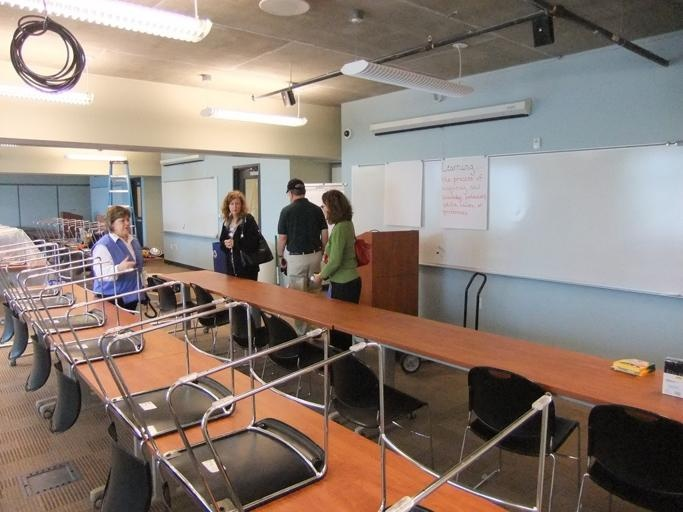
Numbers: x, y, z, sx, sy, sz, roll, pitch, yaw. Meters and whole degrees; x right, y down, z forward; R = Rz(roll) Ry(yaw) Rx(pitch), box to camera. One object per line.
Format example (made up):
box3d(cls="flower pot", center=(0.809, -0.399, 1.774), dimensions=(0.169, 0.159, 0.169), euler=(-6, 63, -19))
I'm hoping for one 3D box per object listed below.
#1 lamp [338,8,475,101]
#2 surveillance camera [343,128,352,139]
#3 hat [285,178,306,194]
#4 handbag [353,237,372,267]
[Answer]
box3d(cls="lamp", center=(0.676, -1.611, 4.316), dimensions=(1.640, 0.195, 0.453), euler=(3, 3, -36))
box3d(cls="surveillance camera", center=(0.095, -1.713, 6.938), dimensions=(0.033, 0.126, 0.123), euler=(-2, 6, -43))
box3d(cls="hat", center=(-0.494, -0.762, 5.359), dimensions=(0.157, 0.130, 0.208), euler=(-8, 17, -23))
box3d(cls="handbag", center=(0.206, -0.030, 4.769), dimensions=(0.204, 0.370, 0.327), euler=(-1, 5, -3))
